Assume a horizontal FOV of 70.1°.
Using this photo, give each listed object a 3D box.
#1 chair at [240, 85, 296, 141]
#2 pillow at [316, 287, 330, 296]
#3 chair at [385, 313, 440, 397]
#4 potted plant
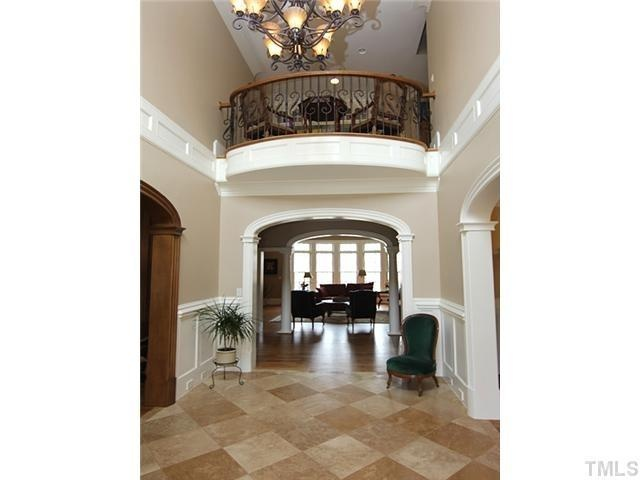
[{"bbox_3d":[-0.830,-1.822,6.937,0.567,0.922,0.518,-11,33,-38],"label":"chair"},{"bbox_3d":[0.032,1.633,14.216,0.290,0.281,0.085,11,-39,-38],"label":"pillow"},{"bbox_3d":[1.096,1.295,5.276,0.582,0.841,0.579,2,-2,-31],"label":"chair"},{"bbox_3d":[-1.200,1.184,5.808,0.707,0.717,0.707,-4,8,-34],"label":"potted plant"}]
